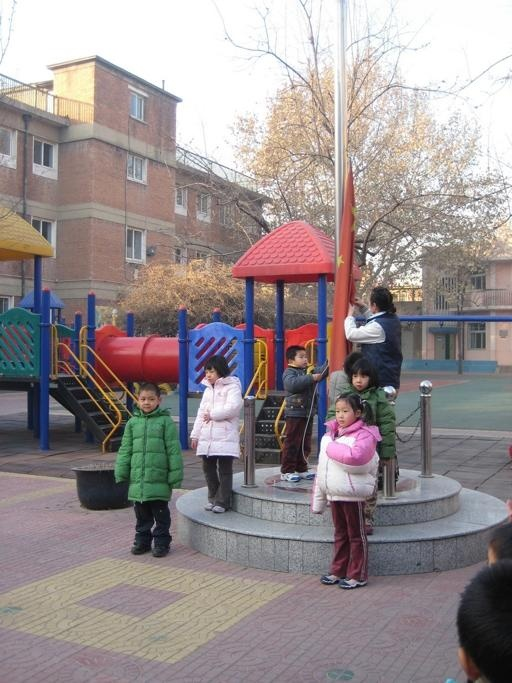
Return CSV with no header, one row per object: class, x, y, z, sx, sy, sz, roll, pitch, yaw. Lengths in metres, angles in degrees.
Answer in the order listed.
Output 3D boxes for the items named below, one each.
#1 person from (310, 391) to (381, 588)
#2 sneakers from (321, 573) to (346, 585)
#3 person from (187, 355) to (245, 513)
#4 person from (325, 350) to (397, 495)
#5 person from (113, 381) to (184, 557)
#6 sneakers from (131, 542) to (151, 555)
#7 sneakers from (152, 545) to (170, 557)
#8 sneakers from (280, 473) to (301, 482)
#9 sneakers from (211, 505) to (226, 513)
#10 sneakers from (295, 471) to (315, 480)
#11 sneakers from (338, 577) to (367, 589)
person,0.562,0.898,4.639,0.353,1.157,0.478,1,-1,-26
sneakers,0.464,1.440,4.627,0.151,0.058,0.052,6,-10,-3
person,-0.323,0.713,6.032,0.388,0.880,0.492,1,-1,-4
person,0.708,0.526,5.055,0.451,0.863,0.314,7,27,28
person,-0.779,0.904,5.488,0.387,0.942,0.534,1,-1,-27
sneakers,-0.825,1.462,5.394,0.055,0.070,0.158,26,-10,21
sneakers,-0.674,1.458,5.325,0.118,0.059,0.118,1,-1,-8
sneakers,0.282,1.169,6.540,0.174,0.069,0.064,-12,-15,42
sneakers,-0.289,1.282,5.825,0.107,0.040,0.110,1,-1,-8
sneakers,0.446,1.184,6.751,0.067,0.061,0.163,1,-8,-13
sneakers,0.577,1.431,4.546,0.144,0.058,0.060,3,-4,4
